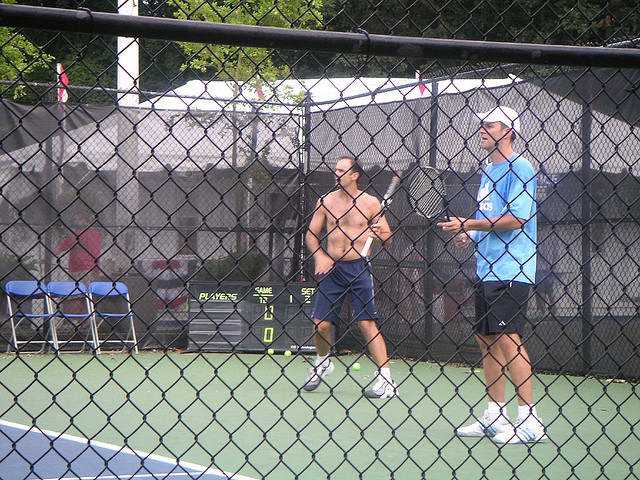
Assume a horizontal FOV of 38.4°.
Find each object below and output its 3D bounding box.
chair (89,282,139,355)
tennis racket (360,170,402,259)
[{"bbox_3d":[-2.744,1.034,12.085,0.549,0.648,0.920,-1,97,-20],"label":"chair"},{"bbox_3d":[0.700,-0.274,10.503,0.163,0.104,1.271,30,87,-26],"label":"tennis racket"}]
